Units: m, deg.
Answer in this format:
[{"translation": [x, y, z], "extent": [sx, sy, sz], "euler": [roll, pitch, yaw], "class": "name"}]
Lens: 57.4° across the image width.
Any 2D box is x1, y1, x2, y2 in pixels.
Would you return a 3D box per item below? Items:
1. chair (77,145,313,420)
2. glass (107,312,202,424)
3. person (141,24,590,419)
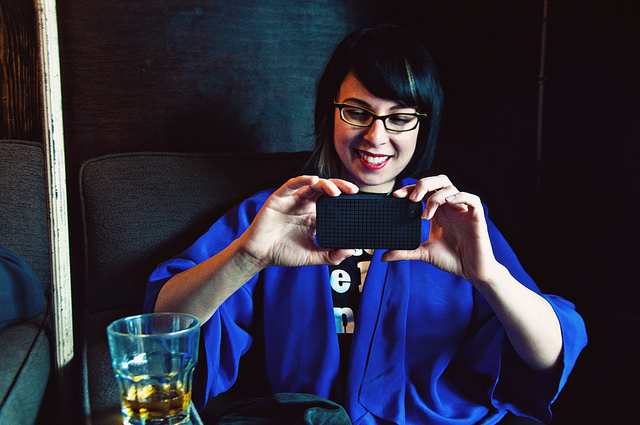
[{"translation": [-0.329, 0.218, 2.245], "extent": [0.972, 0.918, 0.733], "euler": [-1, 2, -8], "class": "chair"}, {"translation": [-0.385, 0.367, 1.377], "extent": [0.208, 0.228, 0.121], "euler": [-2, 13, -12], "class": "glass"}, {"translation": [0.133, 0.023, 1.745], "extent": [1.152, 1.177, 0.761], "euler": [-5, 14, -24], "class": "person"}]
